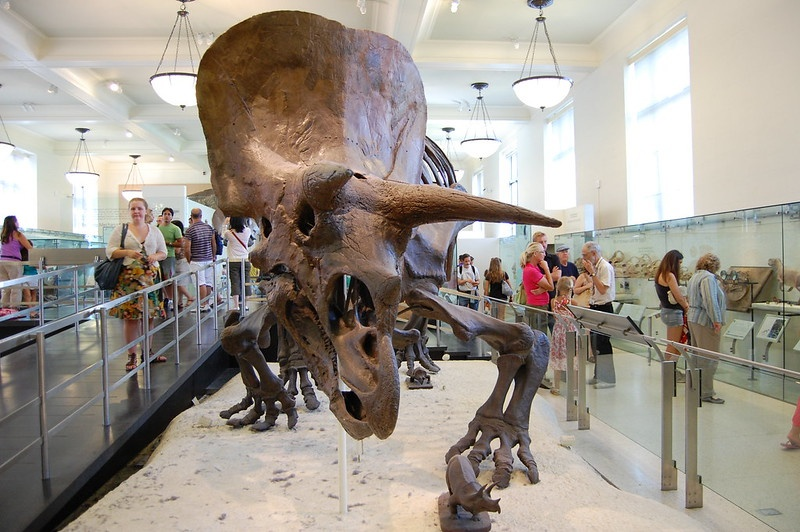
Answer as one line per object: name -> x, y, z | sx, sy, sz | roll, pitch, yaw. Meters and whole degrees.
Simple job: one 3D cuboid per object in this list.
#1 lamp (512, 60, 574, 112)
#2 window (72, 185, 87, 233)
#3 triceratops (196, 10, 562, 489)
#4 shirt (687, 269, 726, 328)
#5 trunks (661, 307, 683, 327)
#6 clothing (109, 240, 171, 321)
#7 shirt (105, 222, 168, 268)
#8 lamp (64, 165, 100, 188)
lamp -> 2.379, -2.963, 9.627 | 1.011, 0.442, 0.991 | 1, -7, -5
window -> -10.318, -1.848, 17.712 | 0.471, 1.374, 1.600 | -7, 15, -28
triceratops -> -0.461, -0.762, 5.301 | 2.458, 2.982, 4.624 | 0, 12, -6
shirt -> 3.751, 0.389, 6.699 | 0.398, 0.679, 0.667 | 1, -1, 14
trunks -> 3.481, 0.648, 7.043 | 0.212, 0.209, 0.296 | -4, 1, 3
clothing -> -3.184, 0.109, 6.719 | 0.592, 1.057, 0.405 | 4, -4, -31
shirt -> -3.180, -0.315, 6.743 | 0.623, 0.460, 0.331 | -2, -3, -23
lamp -> -9.825, -2.754, 16.900 | 1.192, 0.445, 1.170 | 0, -2, -5
